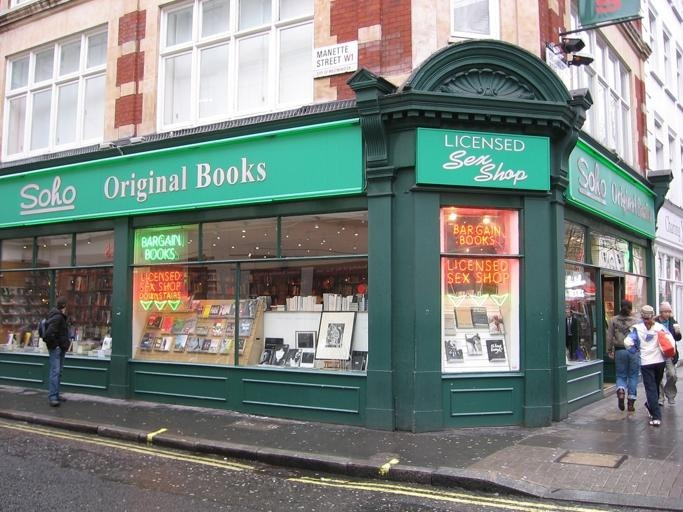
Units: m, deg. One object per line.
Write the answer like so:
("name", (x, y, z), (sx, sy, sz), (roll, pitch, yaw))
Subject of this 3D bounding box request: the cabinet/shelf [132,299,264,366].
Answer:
("cabinet/shelf", (-3.244, 1.660, 13.270), (2.833, 1.266, 0.689), (-3, -4, 23))

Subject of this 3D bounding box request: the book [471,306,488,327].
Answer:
("book", (2.683, 1.172, 11.545), (0.373, 0.344, 0.085), (1, -3, -2))

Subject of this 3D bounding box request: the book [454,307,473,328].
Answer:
("book", (2.327, 1.175, 11.505), (0.408, 0.440, 0.058), (1, -7, -15))

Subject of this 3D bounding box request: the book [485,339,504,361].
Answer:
("book", (2.937, 1.813, 11.628), (0.365, 0.374, 0.375), (0, 1, -1))

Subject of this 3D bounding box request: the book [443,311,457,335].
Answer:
("book", (2.072, 1.266, 11.405), (0.269, 0.441, 0.060), (-2, 3, -25))

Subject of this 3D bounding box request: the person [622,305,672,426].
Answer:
("person", (5.997, 2.097, 11.675), (0.883, 2.198, 1.254), (1, 3, 27))

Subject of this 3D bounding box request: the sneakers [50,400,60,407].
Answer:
("sneakers", (-5.993, 3.082, 12.518), (0.238, 0.101, 0.088), (-11, -12, 42))

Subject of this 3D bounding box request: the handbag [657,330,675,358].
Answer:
("handbag", (6.240, 1.703, 11.587), (0.299, 0.542, 0.191), (-6, -26, -13))

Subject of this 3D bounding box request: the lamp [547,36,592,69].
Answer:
("lamp", (4.967, -4.507, 13.223), (1.062, 0.694, 0.744), (1, 8, 10))

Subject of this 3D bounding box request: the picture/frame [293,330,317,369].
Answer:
("picture/frame", (-0.720, 1.875, 12.075), (0.488, 0.719, 0.016), (-5, -11, 24))

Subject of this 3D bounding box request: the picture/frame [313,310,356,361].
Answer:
("picture/frame", (-0.118, 1.568, 11.839), (0.767, 0.936, 0.219), (1, 3, 25))
